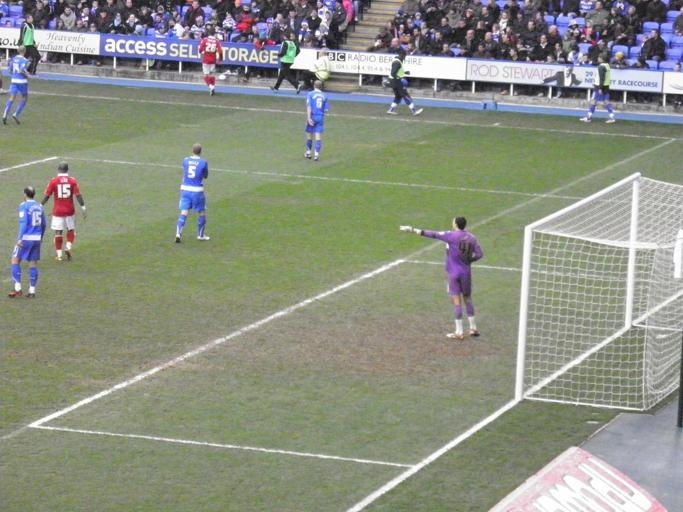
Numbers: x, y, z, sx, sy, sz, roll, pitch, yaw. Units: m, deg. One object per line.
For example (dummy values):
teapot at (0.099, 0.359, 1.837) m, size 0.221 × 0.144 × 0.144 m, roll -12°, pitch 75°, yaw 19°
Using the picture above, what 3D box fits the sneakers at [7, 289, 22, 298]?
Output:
sneakers at (-6.354, 0.695, 29.556) m, size 0.258 × 0.169 × 0.261 m, roll -1°, pitch 10°, yaw -12°

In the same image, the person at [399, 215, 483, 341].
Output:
person at (2.150, 0.350, 28.749) m, size 1.047 × 2.234 × 1.466 m, roll 4°, pitch 11°, yaw 10°

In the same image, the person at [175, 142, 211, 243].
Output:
person at (-3.165, -1.338, 32.399) m, size 0.730 × 2.067 × 0.594 m, roll 1°, pitch 11°, yaw -7°

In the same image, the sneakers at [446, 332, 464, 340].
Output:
sneakers at (2.113, 1.475, 28.520) m, size 0.298 × 0.102 × 0.128 m, roll 6°, pitch 5°, yaw 11°

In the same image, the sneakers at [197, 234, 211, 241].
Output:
sneakers at (-2.962, -0.410, 32.589) m, size 0.267 × 0.097 × 0.093 m, roll -5°, pitch 60°, yaw -15°

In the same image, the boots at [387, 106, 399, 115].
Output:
boots at (1.466, -4.280, 44.846) m, size 0.402 × 0.223 × 0.133 m, roll -4°, pitch 43°, yaw -16°

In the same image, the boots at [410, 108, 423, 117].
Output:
boots at (2.207, -4.252, 44.974) m, size 0.200 × 0.146 × 0.445 m, roll 38°, pitch 30°, yaw 0°

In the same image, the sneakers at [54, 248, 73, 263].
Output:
sneakers at (-5.764, -0.035, 31.419) m, size 0.449 × 0.253 × 0.162 m, roll -15°, pitch 28°, yaw -38°

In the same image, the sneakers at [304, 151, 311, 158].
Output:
sneakers at (-0.886, -2.615, 39.091) m, size 0.107 × 0.129 × 0.202 m, roll -2°, pitch 21°, yaw -10°
